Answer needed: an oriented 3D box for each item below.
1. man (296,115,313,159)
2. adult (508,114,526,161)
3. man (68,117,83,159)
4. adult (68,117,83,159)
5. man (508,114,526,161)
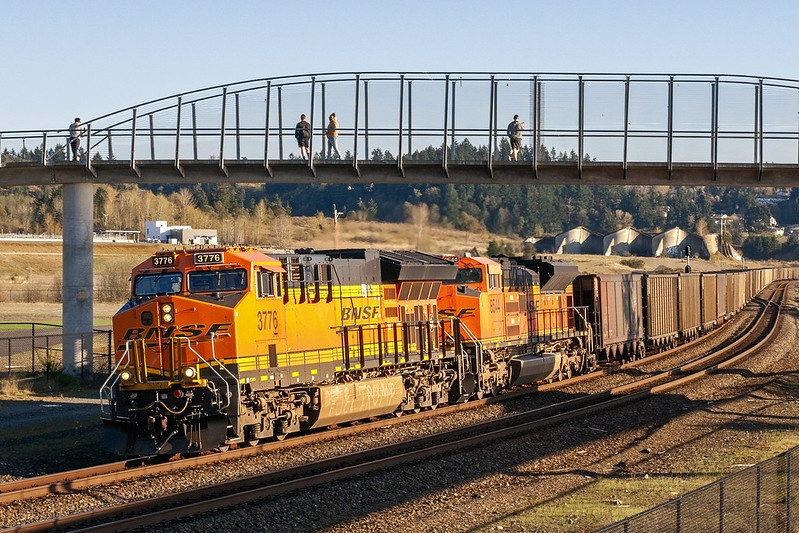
[{"bbox_3d":[-4.092,-5.522,49.863,0.675,1.957,2.000,-1,12,-5],"label":"man"},{"bbox_3d":[4.867,-5.521,49.737,0.633,1.951,1.403,1,12,5],"label":"adult"},{"bbox_3d":[-13.824,-5.432,50.177,0.623,1.929,2.355,-3,12,-15],"label":"man"},{"bbox_3d":[-13.806,-5.418,50.108,0.619,1.929,2.499,-3,12,-15],"label":"adult"},{"bbox_3d":[4.891,-5.519,49.873,0.626,1.892,1.132,1,12,2],"label":"man"}]
